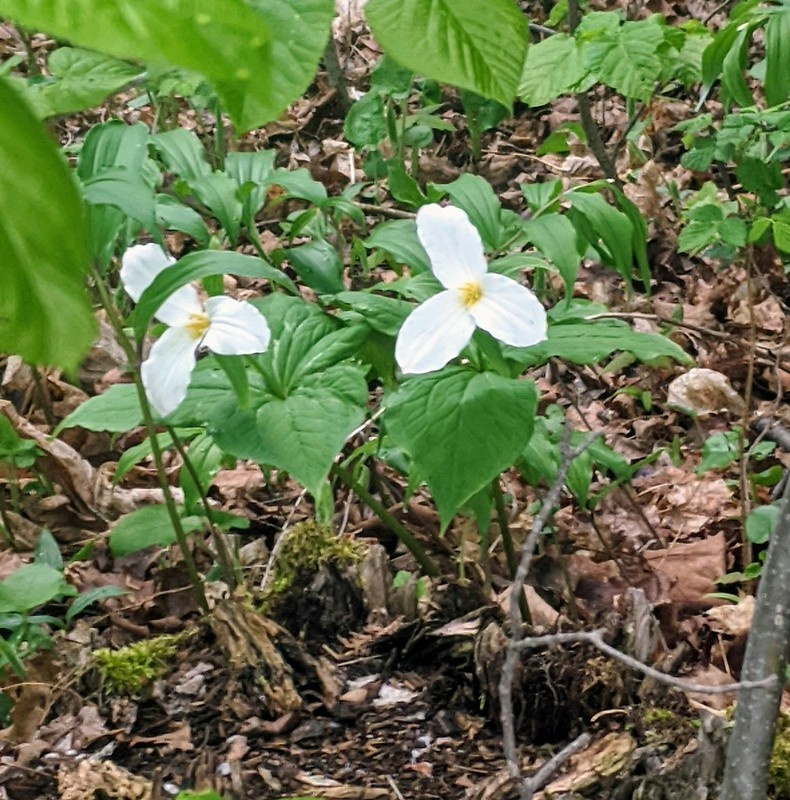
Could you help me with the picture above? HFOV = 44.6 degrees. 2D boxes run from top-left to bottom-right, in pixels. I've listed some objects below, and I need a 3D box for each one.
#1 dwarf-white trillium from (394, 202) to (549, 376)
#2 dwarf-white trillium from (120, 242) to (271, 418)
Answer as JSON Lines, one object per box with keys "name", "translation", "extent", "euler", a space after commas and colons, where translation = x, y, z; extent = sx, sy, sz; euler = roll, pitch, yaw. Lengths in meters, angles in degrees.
{"name": "dwarf-white trillium", "translation": [0.099, -0.153, 1.302], "extent": [0.190, 0.206, 0.172], "euler": [1, 17, 0]}
{"name": "dwarf-white trillium", "translation": [-0.315, -0.107, 1.449], "extent": [0.065, 0.185, 0.299], "euler": [30, 15, -37]}
